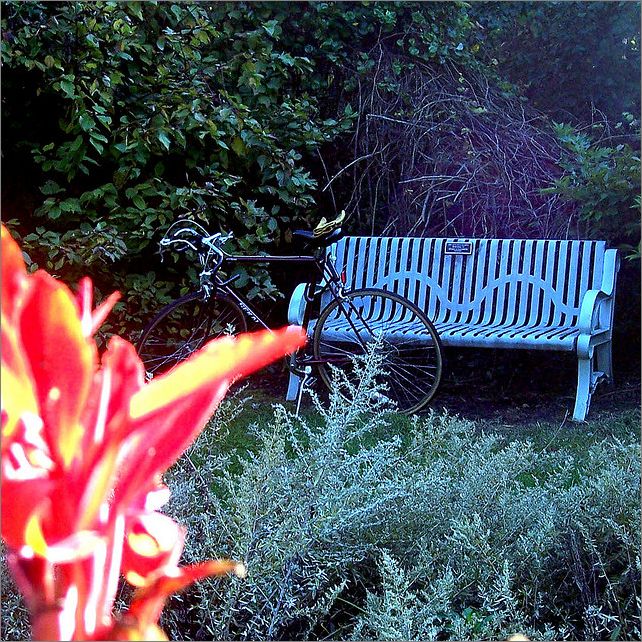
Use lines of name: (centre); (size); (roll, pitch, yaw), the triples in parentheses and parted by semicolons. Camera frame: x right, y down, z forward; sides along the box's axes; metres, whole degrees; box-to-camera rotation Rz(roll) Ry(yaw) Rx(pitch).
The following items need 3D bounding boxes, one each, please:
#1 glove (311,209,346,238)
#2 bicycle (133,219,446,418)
glove: (0.057, -0.561, 3.900); (0.147, 0.148, 0.307); (6, 11, 13)
bicycle: (-0.028, -0.102, 4.440); (2.097, 1.558, 0.978); (0, 7, 9)
